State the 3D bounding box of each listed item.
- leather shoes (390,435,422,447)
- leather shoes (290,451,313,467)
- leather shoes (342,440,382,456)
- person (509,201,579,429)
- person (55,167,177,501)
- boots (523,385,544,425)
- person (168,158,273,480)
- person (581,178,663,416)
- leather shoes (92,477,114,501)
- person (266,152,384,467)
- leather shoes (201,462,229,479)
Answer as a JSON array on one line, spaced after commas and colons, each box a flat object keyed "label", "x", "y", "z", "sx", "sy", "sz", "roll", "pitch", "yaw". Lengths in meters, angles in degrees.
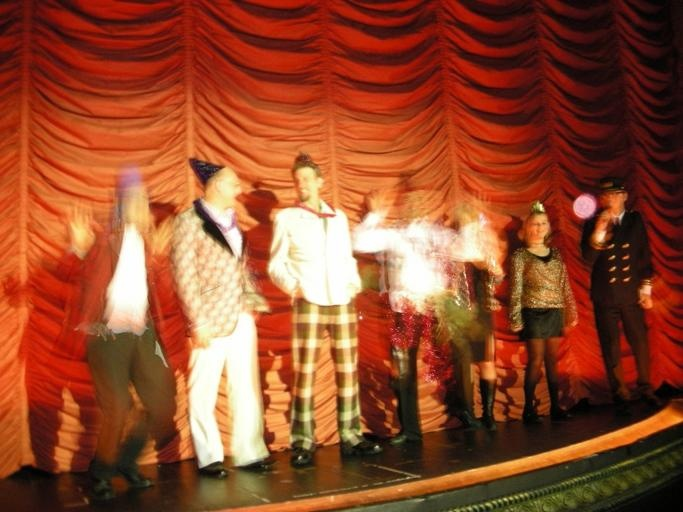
[{"label": "leather shoes", "x": 0.495, "y": 1.447, "z": 6.311, "sx": 0.276, "sy": 0.096, "sz": 0.085, "roll": 7, "pitch": -5, "yaw": -7}, {"label": "leather shoes", "x": -0.274, "y": 1.474, "z": 5.862, "sx": 0.187, "sy": 0.115, "sz": 0.125, "roll": 5, "pitch": -17, "yaw": -28}, {"label": "leather shoes", "x": 0.159, "y": 1.443, "z": 6.082, "sx": 0.357, "sy": 0.137, "sz": 0.111, "roll": -4, "pitch": 1, "yaw": 13}, {"label": "person", "x": 1.731, "y": 0.484, "z": 6.951, "sx": 0.540, "sy": 1.852, "sz": 0.571, "roll": -8, "pitch": -17, "yaw": 14}, {"label": "person", "x": -1.552, "y": 0.493, "z": 5.676, "sx": 0.579, "sy": 2.320, "sz": 0.631, "roll": -6, "pitch": -16, "yaw": 10}, {"label": "boots", "x": 1.615, "y": 1.287, "z": 6.902, "sx": 0.146, "sy": 0.314, "sz": 0.249, "roll": -7, "pitch": -16, "yaw": 12}, {"label": "person", "x": -0.862, "y": 0.417, "z": 5.874, "sx": 0.552, "sy": 2.303, "sz": 0.750, "roll": -8, "pitch": -17, "yaw": 14}, {"label": "person", "x": 2.489, "y": 0.312, "z": 7.148, "sx": 0.694, "sy": 1.982, "sz": 0.503, "roll": 11, "pitch": -22, "yaw": -41}, {"label": "leather shoes", "x": -1.609, "y": 1.562, "z": 5.391, "sx": 0.177, "sy": 0.142, "sz": 0.134, "roll": -3, "pitch": -15, "yaw": 1}, {"label": "person", "x": -0.168, "y": 0.404, "z": 6.081, "sx": 0.552, "sy": 2.288, "sz": 0.745, "roll": -16, "pitch": -20, "yaw": 36}, {"label": "leather shoes", "x": -0.931, "y": 1.519, "z": 5.695, "sx": 0.296, "sy": 0.109, "sz": 0.105, "roll": -14, "pitch": -18, "yaw": 40}]
